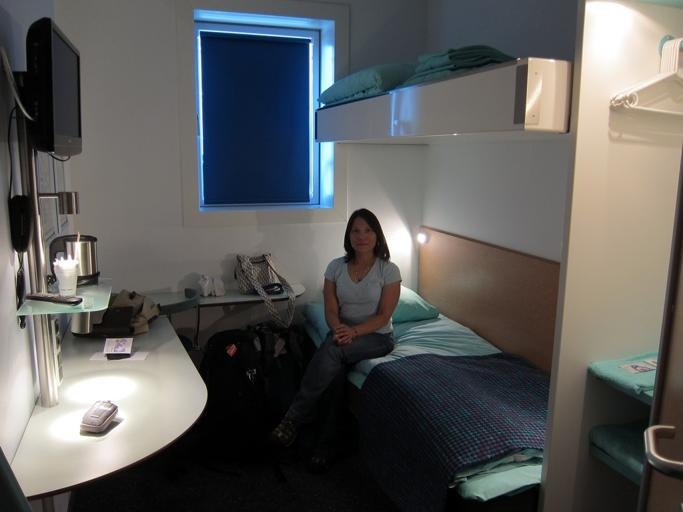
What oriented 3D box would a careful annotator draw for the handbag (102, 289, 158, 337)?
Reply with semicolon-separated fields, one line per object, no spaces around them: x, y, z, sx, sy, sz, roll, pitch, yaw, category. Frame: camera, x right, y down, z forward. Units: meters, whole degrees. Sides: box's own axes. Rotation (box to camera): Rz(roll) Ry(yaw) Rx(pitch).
-1.171;0.325;2.828;0.249;0.105;0.213;15;27;-27;handbag

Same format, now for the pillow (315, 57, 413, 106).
0.163;-1.178;3.543;0.302;0.187;0.794;-10;12;-29;pillow

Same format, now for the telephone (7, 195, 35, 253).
-1.208;-0.123;1.923;0.102;0.215;0.049;-2;10;12;telephone

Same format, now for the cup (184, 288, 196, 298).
-1.070;0.259;3.594;0.062;0.054;0.068;0;-1;0;cup

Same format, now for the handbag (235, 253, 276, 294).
-0.634;0.134;3.694;0.232;0.250;0.125;-4;-24;-26;handbag
